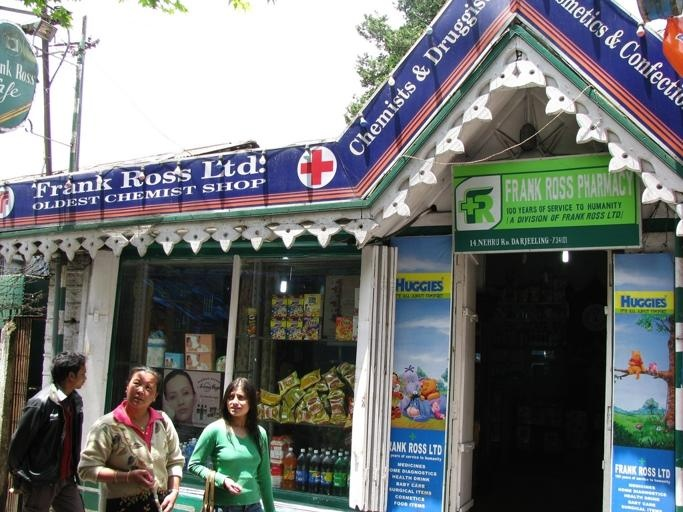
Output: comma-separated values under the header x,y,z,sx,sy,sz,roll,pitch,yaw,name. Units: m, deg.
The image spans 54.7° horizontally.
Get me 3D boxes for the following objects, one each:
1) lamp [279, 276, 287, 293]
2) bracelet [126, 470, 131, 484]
x,y,z,sx,sy,sz,roll,pitch,yaw,name
-0.705,0.356,7.999,0.103,0.183,0.032,-2,-11,19,lamp
-1.665,1.707,5.125,0.041,0.065,0.013,-4,-12,26,bracelet
